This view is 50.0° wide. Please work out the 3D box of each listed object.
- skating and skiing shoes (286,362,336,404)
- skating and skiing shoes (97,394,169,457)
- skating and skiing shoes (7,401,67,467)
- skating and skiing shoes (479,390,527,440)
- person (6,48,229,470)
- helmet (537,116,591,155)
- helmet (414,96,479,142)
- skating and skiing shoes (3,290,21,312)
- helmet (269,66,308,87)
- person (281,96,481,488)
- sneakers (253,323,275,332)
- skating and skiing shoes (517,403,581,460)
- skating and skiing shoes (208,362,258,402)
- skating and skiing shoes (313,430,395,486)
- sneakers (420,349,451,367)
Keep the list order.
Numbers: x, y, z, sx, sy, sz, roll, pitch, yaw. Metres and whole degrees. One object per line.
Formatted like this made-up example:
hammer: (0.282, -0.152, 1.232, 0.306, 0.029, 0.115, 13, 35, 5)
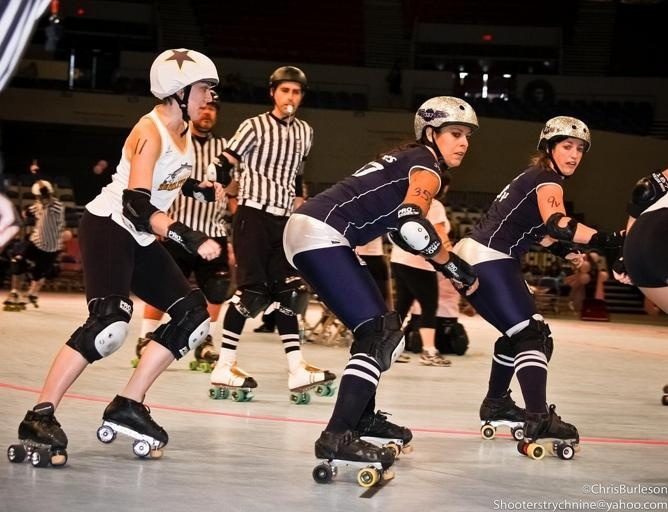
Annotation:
skating and skiing shoes: (-0.172, 0.905, 5.207, 0.374, 0.273, 0.111, -18, -12, 28)
skating and skiing shoes: (-1.015, 0.885, 3.735, 0.379, 0.260, 0.252, 26, -2, -5)
skating and skiing shoes: (-1.410, 0.880, 3.584, 0.345, 0.269, 0.224, 3, -4, 34)
skating and skiing shoes: (1.015, 0.975, 4.300, 0.343, 0.250, 0.163, 0, 0, 1)
person: (-1.016, -0.024, 3.623, 0.807, 1.481, 0.520, 6, 2, -3)
helmet: (1.364, -0.758, 4.336, 0.222, 0.170, 0.282, 7, -8, -31)
helmet: (0.571, -0.738, 3.821, 0.237, 0.172, 0.279, -2, 12, -38)
skating and skiing shoes: (-5.017, 0.719, 11.252, 0.232, 0.287, 0.651, 3, -6, -13)
helmet: (-0.367, -1.410, 5.755, 0.304, 0.146, 0.415, 3, 8, -6)
person: (0.255, 0.092, 3.631, 0.872, 1.605, 0.645, 5, 3, -33)
sneakers: (-0.948, 0.998, 9.975, 0.336, 0.138, 0.110, 4, -5, -5)
skating and skiing shoes: (1.160, 0.975, 4.004, 0.356, 0.285, 0.233, 0, -1, -12)
skating and skiing shoes: (-0.743, 0.914, 5.237, 0.425, 0.265, 0.146, -2, -5, 36)
skating and skiing shoes: (0.101, 0.943, 3.401, 0.264, 0.158, 0.404, 2, -5, 10)
sneakers: (1.021, 1.047, 7.352, 0.333, 0.161, 0.132, 1, 2, 12)
